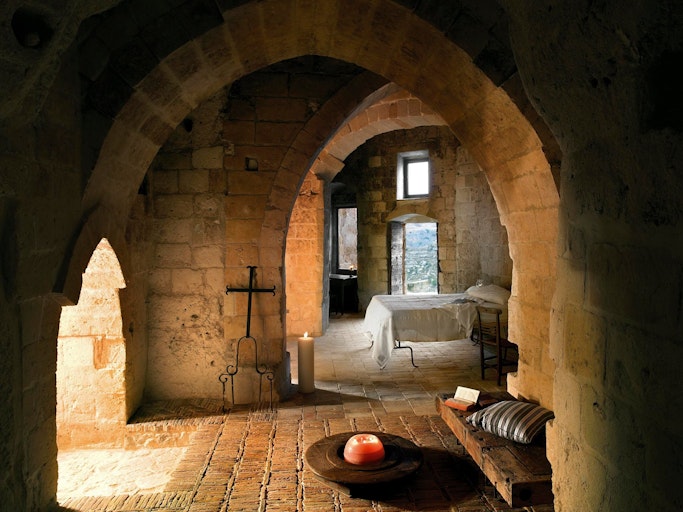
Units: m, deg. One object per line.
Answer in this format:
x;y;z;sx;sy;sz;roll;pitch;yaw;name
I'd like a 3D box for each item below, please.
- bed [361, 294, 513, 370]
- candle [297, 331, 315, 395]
0.887;0.795;6.093;1.172;0.677;1.264;1;2;2;bed
-0.297;0.886;4.596;0.142;0.484;0.208;1;3;-2;candle
